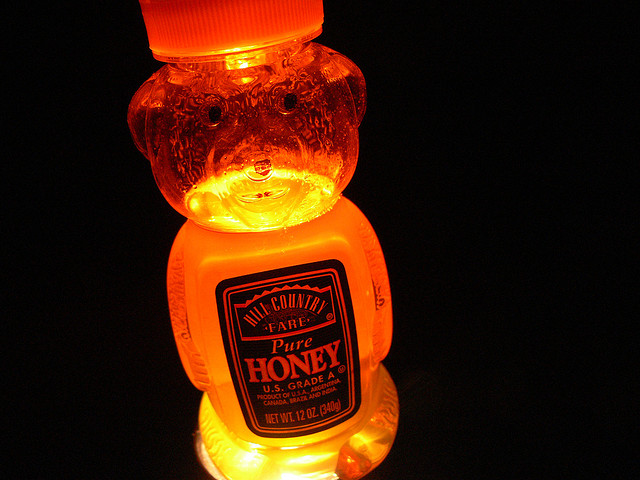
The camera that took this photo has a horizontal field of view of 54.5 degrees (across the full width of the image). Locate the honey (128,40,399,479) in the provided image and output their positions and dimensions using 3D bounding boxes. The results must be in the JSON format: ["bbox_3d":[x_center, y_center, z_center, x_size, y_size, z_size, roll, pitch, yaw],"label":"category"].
[{"bbox_3d":[-0.106,0.035,1.387,0.428,1.263,0.417,-3,12,-16],"label":"honey"}]
